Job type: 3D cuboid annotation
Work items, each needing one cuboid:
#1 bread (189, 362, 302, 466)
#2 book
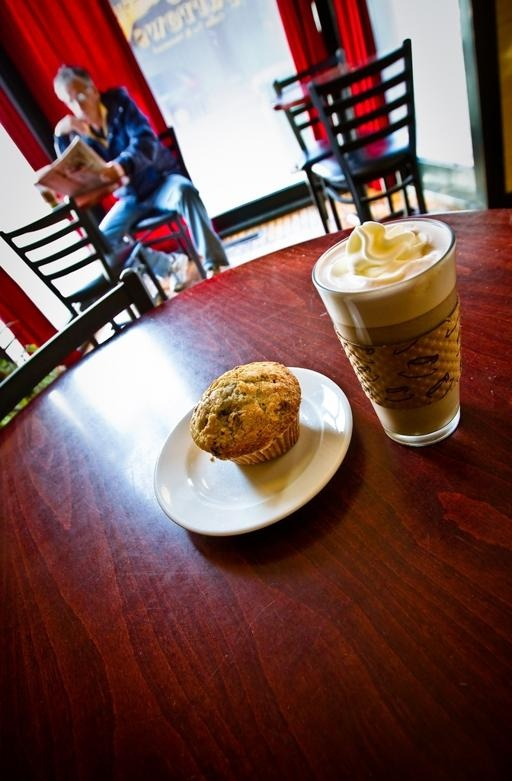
[{"bbox_3d":[-0.011,0.023,0.569,0.107,0.061,0.111,-31,34,17],"label":"bread"},{"bbox_3d":[-0.752,-0.937,2.247,0.292,0.308,0.086,-27,71,4],"label":"book"}]
